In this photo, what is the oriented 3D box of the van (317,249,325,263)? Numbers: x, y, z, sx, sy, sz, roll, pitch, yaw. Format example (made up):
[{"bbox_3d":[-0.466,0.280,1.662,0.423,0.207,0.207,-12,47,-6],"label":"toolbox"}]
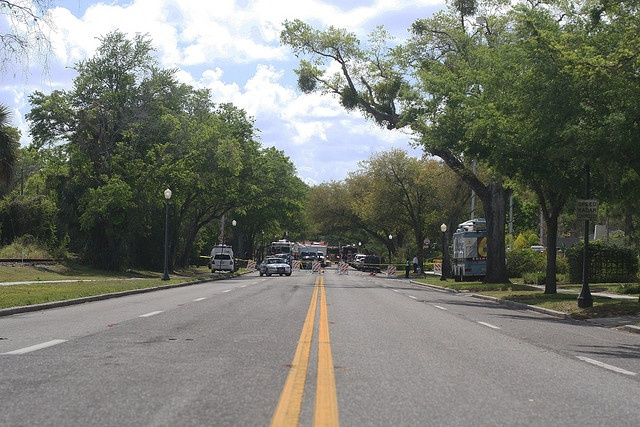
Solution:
[{"bbox_3d":[0.083,6.033,89.910,1.019,1.570,1.957,1,0,-1],"label":"van"}]

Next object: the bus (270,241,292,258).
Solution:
[{"bbox_3d":[-5.481,4.959,88.508,3.026,1.949,7.768,2,0,-4],"label":"bus"}]

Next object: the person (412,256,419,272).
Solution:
[{"bbox_3d":[10.114,5.470,66.254,0.369,1.652,2.271,2,0,10],"label":"person"}]

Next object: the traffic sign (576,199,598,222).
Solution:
[{"bbox_3d":[10.914,-0.175,25.592,1.008,1.005,0.144,2,5,-4],"label":"traffic sign"}]

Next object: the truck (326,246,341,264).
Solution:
[{"bbox_3d":[2.230,7.234,107.129,2.084,2.662,7.176,2,0,7],"label":"truck"}]

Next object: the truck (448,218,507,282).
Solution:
[{"bbox_3d":[11.379,2.825,46.316,2.623,4.605,5.297,0,-4,2],"label":"truck"}]

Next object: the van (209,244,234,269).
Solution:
[{"bbox_3d":[-9.337,4.304,59.588,1.611,1.802,3.517,1,4,-6],"label":"van"}]

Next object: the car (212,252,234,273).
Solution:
[{"bbox_3d":[-9.129,4.663,58.362,1.979,1.807,1.262,1,1,-10],"label":"car"}]
